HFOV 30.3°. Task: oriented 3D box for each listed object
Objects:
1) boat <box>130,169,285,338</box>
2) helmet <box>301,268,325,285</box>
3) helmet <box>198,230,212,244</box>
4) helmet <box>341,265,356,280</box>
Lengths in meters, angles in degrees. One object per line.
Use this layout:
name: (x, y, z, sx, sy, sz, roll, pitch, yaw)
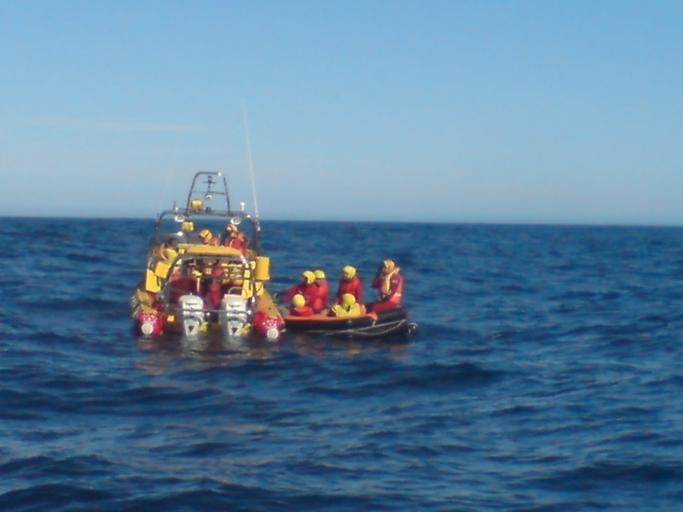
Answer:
boat: (-3.554, -0.027, 32.993, 3.695, 2.791, 7.162, 1, 10, -8)
helmet: (-0.741, 0.523, 31.733, 0.530, 0.202, 0.338, 0, 6, -38)
helmet: (-3.790, -0.513, 34.891, 0.290, 0.315, 0.330, 20, -37, -4)
helmet: (0.238, 0.440, 31.703, 0.390, 0.261, 0.295, 10, 27, -27)
